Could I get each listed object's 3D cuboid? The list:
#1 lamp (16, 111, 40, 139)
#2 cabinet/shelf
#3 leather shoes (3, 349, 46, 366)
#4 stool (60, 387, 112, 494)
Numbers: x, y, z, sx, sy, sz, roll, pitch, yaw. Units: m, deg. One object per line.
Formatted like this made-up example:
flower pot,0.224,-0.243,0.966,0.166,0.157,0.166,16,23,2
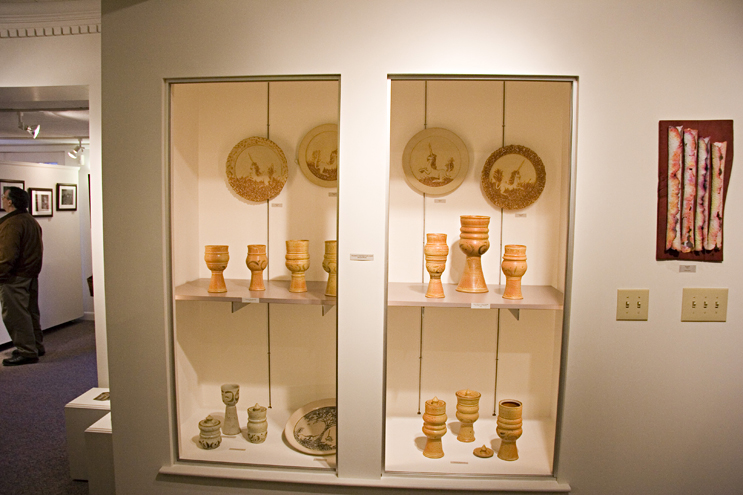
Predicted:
lamp,-3.532,-1.274,6.069,0.189,0.284,0.216,-3,7,-32
cabinet/shelf,0.066,0.132,3.561,2.156,2.209,0.731,0,7,1
leather shoes,-3.447,1.089,5.841,0.418,0.184,0.144,6,3,-14
stool,-1.856,1.267,3.922,0.278,0.626,0.456,-4,5,-40
